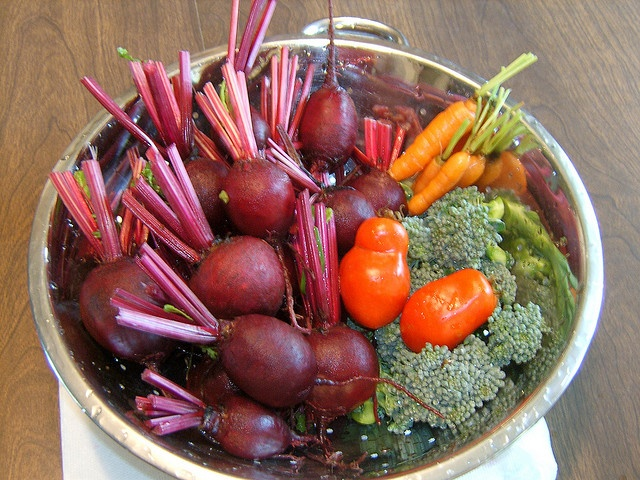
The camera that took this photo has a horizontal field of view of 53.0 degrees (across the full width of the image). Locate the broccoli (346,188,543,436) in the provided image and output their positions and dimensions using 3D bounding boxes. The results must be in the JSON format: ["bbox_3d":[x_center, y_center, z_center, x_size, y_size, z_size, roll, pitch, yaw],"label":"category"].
[{"bbox_3d":[0.327,0.140,1.694,0.518,0.166,0.609,-36,51,32],"label":"broccoli"}]

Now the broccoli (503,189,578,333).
[{"bbox_3d":[0.594,0.041,1.721,0.102,0.089,0.360,-15,78,-34],"label":"broccoli"}]

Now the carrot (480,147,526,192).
[{"bbox_3d":[0.521,-0.196,1.822,0.083,0.113,0.102,22,80,-32],"label":"carrot"}]

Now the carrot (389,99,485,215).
[{"bbox_3d":[0.362,-0.214,1.936,0.195,0.080,0.343,44,103,31],"label":"carrot"}]
